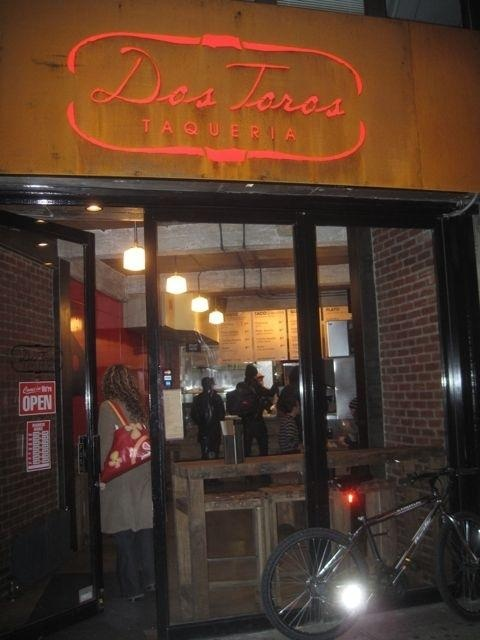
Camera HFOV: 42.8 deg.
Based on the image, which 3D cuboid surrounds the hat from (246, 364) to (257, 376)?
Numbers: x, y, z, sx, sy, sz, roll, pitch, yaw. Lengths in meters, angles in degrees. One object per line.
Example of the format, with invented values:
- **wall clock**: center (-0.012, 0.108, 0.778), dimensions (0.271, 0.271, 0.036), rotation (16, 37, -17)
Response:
- **hat**: center (0.063, 0.311, 3.946), dimensions (0.052, 0.077, 0.072), rotation (6, -3, -10)

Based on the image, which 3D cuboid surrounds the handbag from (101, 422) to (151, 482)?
- **handbag**: center (-0.839, 0.898, 4.321), dimensions (0.318, 0.411, 0.147), rotation (33, -20, -26)

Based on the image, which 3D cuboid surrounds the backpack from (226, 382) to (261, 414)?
- **backpack**: center (0.007, 0.498, 3.894), dimensions (0.175, 0.208, 0.144), rotation (-4, -31, 6)

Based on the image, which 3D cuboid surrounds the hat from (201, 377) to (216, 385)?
- **hat**: center (-0.200, 0.368, 3.779), dimensions (0.055, 0.045, 0.051), rotation (2, -3, -40)
